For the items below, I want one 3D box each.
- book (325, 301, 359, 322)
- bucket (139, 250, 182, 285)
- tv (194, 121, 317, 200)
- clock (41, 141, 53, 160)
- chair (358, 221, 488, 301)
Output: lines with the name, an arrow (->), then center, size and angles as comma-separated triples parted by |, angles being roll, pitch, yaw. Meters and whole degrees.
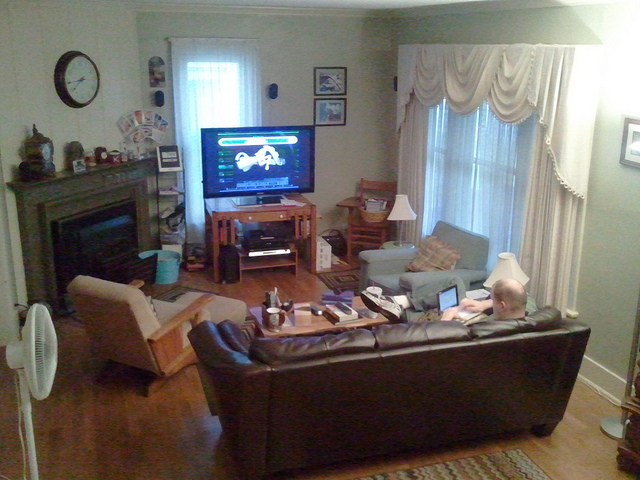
book -> 0.199, 0.603, 4.384 | 0.222, 0.060, 0.223 | -2, 15, -22
bucket -> -1.752, 0.289, 6.019 | 0.569, 0.282, 0.448 | 15, 21, 36
tv -> -0.714, -0.953, 6.231 | 1.897, 0.845, 0.062 | 5, 10, 35
clock -> -2.375, -0.795, 4.576 | 0.047, 0.115, 0.113 | -1, -13, 16
chair -> 1.037, 0.260, 5.011 | 1.131, 0.674, 1.085 | -4, 17, -9
